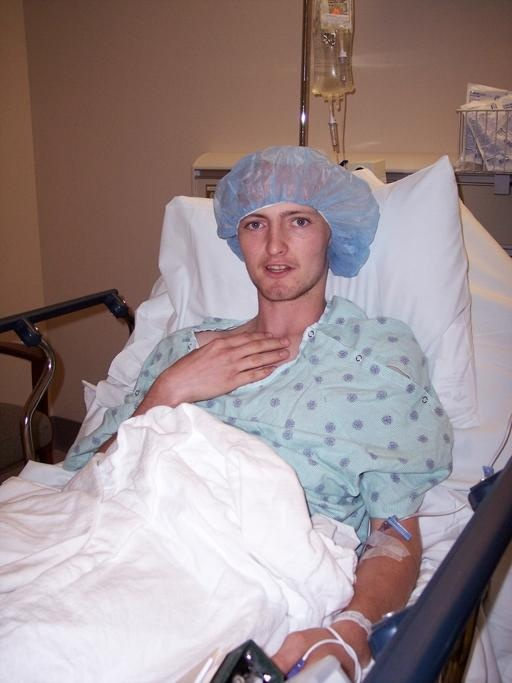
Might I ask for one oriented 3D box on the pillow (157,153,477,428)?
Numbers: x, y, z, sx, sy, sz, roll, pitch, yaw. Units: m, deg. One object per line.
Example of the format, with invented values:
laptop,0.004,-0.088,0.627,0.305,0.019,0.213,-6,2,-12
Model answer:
pillow,0.313,-0.123,1.694,0.747,0.690,0.310,3,8,11
